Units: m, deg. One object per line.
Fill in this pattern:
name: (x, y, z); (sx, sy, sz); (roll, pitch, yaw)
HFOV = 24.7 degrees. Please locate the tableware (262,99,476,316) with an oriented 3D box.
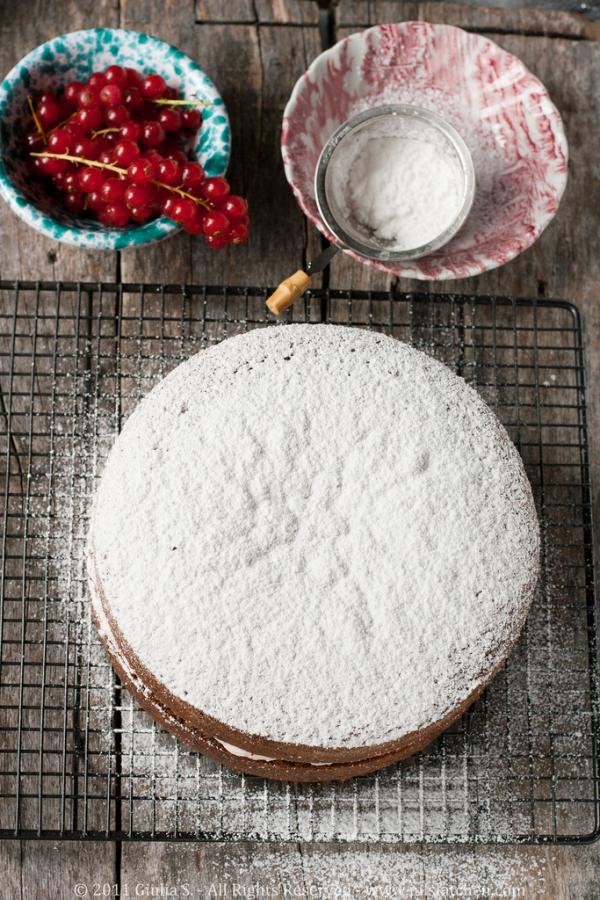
tableware: (0.101, -0.313, 1.627); (0.207, 0.070, 0.190); (-8, 85, -2)

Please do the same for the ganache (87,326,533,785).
ganache: (0.016, 0.092, 1.458); (0.468, 0.087, 0.480); (-20, 85, -3)
